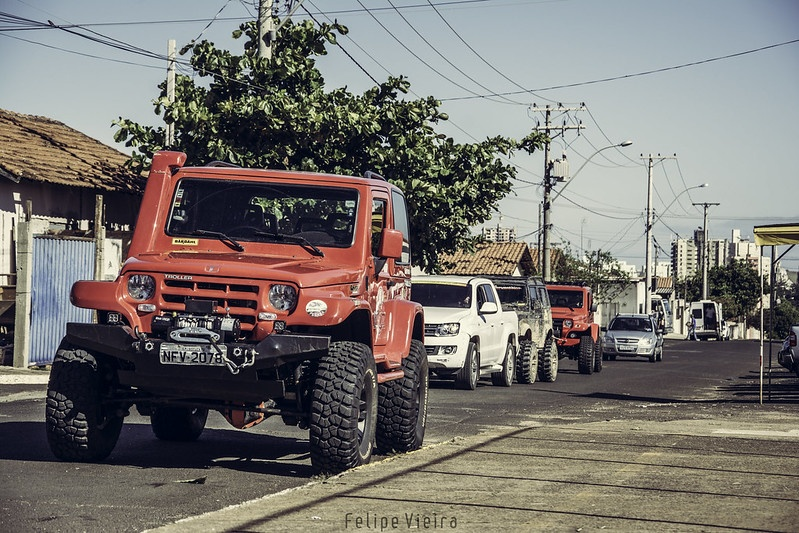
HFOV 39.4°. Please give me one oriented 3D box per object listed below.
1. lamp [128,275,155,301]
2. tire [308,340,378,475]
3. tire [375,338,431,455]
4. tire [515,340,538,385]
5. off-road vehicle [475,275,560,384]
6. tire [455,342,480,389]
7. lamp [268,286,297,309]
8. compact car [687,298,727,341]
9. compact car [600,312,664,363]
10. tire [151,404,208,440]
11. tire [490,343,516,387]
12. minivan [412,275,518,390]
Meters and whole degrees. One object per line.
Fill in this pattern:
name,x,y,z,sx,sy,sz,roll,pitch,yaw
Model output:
lamp,-3.181,0.264,13.685,0.356,0.312,0.079,3,-4,20
tire,-0.676,1.800,14.227,0.581,1.742,1.782,3,-6,11
tire,0.001,1.797,15.294,0.512,1.465,1.481,2,9,10
tire,3.126,2.340,27.150,0.682,1.073,0.366,8,-6,-43
off-road vehicle,2.977,1.654,28.567,1.696,1.852,2.963,-2,-9,14
tire,1.407,2.091,23.643,0.329,1.009,1.022,-2,4,17
lamp,-1.427,0.384,13.514,0.333,0.307,0.072,4,-4,12
compact car,23.705,4.066,85.547,2.716,3.025,5.435,-2,0,23
compact car,9.031,2.762,43.167,2.171,1.926,3.207,4,-4,10
tire,-3.145,2.194,15.732,0.337,0.800,0.813,2,1,15
tire,2.354,2.257,25.693,0.353,1.081,1.101,-1,-3,26
minivan,1.256,1.411,24.652,1.827,1.383,2.892,-1,-7,21
